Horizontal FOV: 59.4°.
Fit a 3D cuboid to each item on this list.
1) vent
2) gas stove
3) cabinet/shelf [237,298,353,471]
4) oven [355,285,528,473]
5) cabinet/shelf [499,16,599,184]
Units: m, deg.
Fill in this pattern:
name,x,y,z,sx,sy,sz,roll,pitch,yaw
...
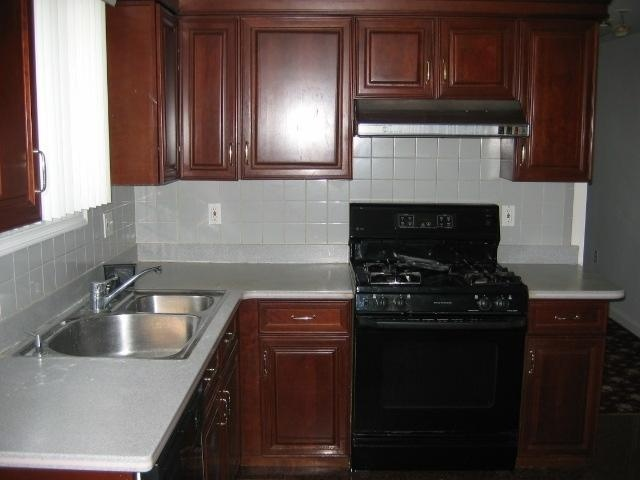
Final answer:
name,x,y,z,sx,sy,sz,roll,pitch,yaw
vent,0.633,-0.657,2.979,0.897,0.226,0.159,2,5,0
gas stove,0.627,0.164,3.071,0.855,0.111,0.483,2,6,2
cabinet/shelf,-0.115,0.745,3.260,0.581,0.923,0.598,0,-1,4
oven,0.616,0.705,3.213,0.922,0.970,0.710,1,0,-4
cabinet/shelf,1.239,-0.794,3.226,0.518,0.898,0.437,-2,7,-11
